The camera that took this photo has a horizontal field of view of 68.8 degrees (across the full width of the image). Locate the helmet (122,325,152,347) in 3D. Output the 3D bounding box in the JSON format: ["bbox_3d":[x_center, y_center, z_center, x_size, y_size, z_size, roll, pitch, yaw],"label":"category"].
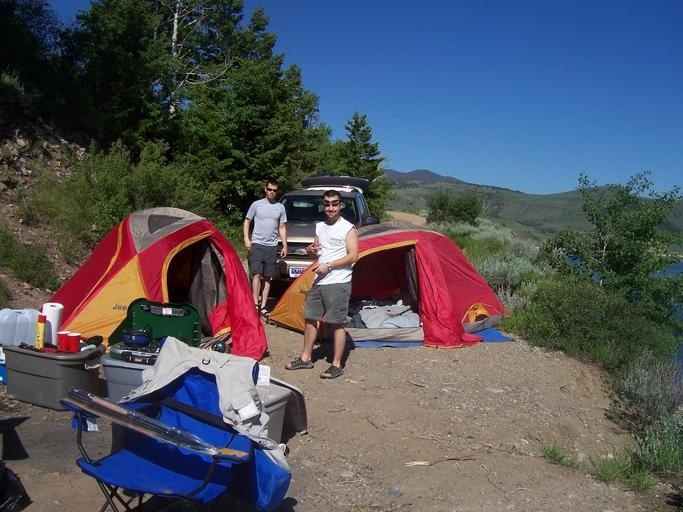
[{"bbox_3d":[-2.386,0.944,5.797,0.242,0.198,0.208,14,-2,10],"label":"helmet"}]

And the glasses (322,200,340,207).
[{"bbox_3d":[-0.136,-0.729,6.953,0.215,0.104,0.103,1,13,-19],"label":"glasses"}]

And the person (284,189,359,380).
[{"bbox_3d":[-0.221,0.422,7.134,0.787,2.700,0.573,6,12,7],"label":"person"}]

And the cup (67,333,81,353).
[{"bbox_3d":[-3.241,1.043,5.969,0.185,0.217,0.191,0,-2,0],"label":"cup"}]

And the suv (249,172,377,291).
[{"bbox_3d":[-0.431,-0.801,11.258,1.901,2.028,3.246,1,2,10],"label":"suv"}]

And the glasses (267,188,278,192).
[{"bbox_3d":[-1.274,-1.192,9.070,0.109,0.094,0.283,11,13,24],"label":"glasses"}]

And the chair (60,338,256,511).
[{"bbox_3d":[-1.471,1.488,4.325,1.482,1.182,1.118,5,12,-3],"label":"chair"}]

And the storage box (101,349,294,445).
[{"bbox_3d":[-1.638,1.593,5.557,1.593,0.817,1.105,11,-1,13],"label":"storage box"}]

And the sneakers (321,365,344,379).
[{"bbox_3d":[-0.164,1.687,7.242,0.151,0.146,0.337,-5,-12,34],"label":"sneakers"}]

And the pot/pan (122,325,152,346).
[{"bbox_3d":[-2.388,0.923,5.791,0.238,0.174,0.205,7,-5,8],"label":"pot/pan"}]

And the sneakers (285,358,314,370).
[{"bbox_3d":[-0.641,1.596,7.432,0.427,0.195,0.165,4,-4,-9],"label":"sneakers"}]
